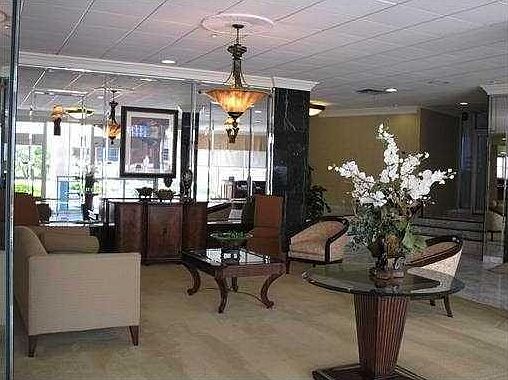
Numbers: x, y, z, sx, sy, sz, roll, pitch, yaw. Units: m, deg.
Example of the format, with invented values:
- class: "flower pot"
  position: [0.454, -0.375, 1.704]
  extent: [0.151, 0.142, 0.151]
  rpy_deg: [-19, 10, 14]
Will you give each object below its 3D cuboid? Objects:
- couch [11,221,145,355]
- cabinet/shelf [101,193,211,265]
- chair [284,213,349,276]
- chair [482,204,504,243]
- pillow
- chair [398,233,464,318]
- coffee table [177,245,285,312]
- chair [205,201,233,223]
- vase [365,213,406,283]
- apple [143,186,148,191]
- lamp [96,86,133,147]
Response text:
- class: "couch"
  position: [-2.060, 0.874, 4.259]
  extent: [1.036, 1.081, 2.228]
  rpy_deg: [0, 3, -31]
- class: "cabinet/shelf"
  position: [-1.675, 0.673, 6.725]
  extent: [2.166, 1.095, 1.040]
  rpy_deg: [3, 2, -26]
- class: "chair"
  position: [1.127, 0.878, 6.448]
  extent: [0.837, 0.801, 0.896]
  rpy_deg: [-2, 3, -37]
- class: "chair"
  position: [5.023, 0.696, 8.009]
  extent: [0.332, 0.731, 0.191]
  rpy_deg: [4, 3, 27]
- class: "pillow"
  position: [-2.412, 0.596, 5.043]
  extent: [0.835, 0.376, 0.734]
  rpy_deg: [6, 1, -19]
- class: "chair"
  position: [2.203, 1.089, 4.952]
  extent: [0.917, 0.844, 0.847]
  rpy_deg: [-5, 16, 42]
- class: "coffee table"
  position: [-0.086, 1.047, 4.987]
  extent: [1.237, 0.624, 1.420]
  rpy_deg: [2, 1, -24]
- class: "chair"
  position: [-0.696, 0.452, 7.704]
  extent: [0.490, 0.276, 0.323]
  rpy_deg: [2, -2, -7]
- class: "vase"
  position: [1.100, 0.478, 3.157]
  extent: [0.312, 0.557, 0.300]
  rpy_deg: [7, 2, -13]
- class: "apple"
  position: [-1.976, -0.030, 6.943]
  extent: [0.090, 0.061, 0.093]
  rpy_deg: [1, 2, -13]
- class: "lamp"
  position: [-2.575, -1.361, 6.999]
  extent: [0.613, 0.890, 0.610]
  rpy_deg: [1, 6, -30]
